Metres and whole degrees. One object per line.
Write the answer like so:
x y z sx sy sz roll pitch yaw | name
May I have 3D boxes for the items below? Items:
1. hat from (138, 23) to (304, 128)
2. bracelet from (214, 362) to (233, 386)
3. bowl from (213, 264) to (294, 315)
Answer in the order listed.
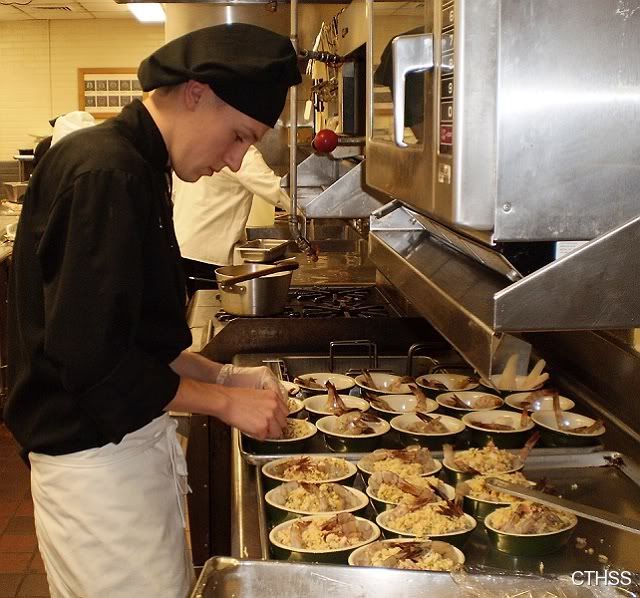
-0.220 -0.441 1.079 0.297 0.136 0.275 6 13 -15 | hat
-0.259 0.203 1.485 0.024 0.051 0.040 35 -14 -27 | bracelet
-0.282 -0.040 2.362 0.297 0.133 0.232 -5 8 -31 | bowl
